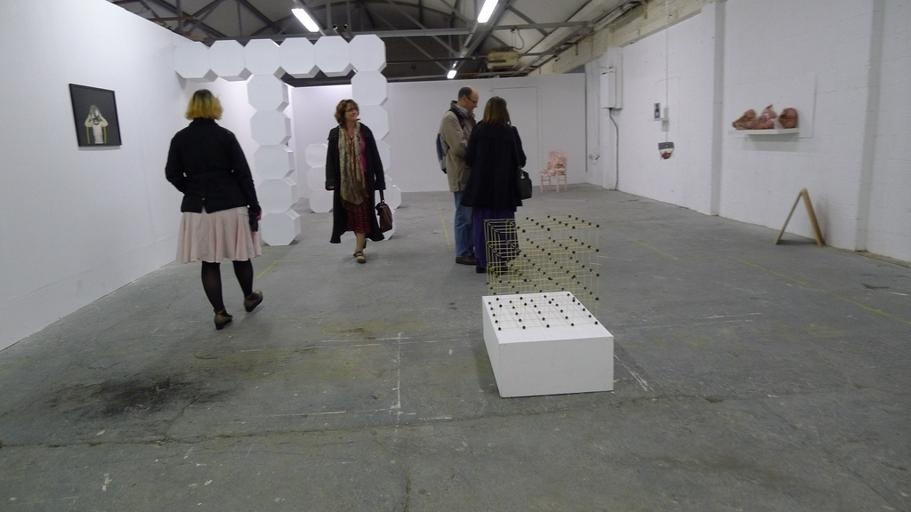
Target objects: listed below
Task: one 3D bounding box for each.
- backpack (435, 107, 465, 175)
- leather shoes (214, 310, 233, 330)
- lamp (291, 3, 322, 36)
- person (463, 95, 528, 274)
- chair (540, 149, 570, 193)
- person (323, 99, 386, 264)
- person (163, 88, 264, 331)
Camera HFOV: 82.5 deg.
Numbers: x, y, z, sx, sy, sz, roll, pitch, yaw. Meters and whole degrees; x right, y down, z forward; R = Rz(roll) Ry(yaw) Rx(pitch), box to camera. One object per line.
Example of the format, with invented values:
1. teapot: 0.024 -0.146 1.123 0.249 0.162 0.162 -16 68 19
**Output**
1. backpack: 0.006 -1.465 6.942 0.461 1.143 0.383 -1 14 0
2. leather shoes: -2.515 0.692 5.640 0.102 0.136 0.299 -1 13 -4
3. lamp: -3.047 -4.898 10.718 0.432 0.420 0.934 -2 14 -5
4. person: 0.489 -0.869 6.623 0.752 2.209 0.466 1 14 8
5. chair: 2.863 -2.479 14.992 0.642 1.005 2.353 2 14 10
6. person: -1.458 -1.103 7.617 0.815 2.306 0.599 -3 14 -9
7. person: -2.566 -0.502 5.614 0.901 2.503 0.633 -2 14 -4
